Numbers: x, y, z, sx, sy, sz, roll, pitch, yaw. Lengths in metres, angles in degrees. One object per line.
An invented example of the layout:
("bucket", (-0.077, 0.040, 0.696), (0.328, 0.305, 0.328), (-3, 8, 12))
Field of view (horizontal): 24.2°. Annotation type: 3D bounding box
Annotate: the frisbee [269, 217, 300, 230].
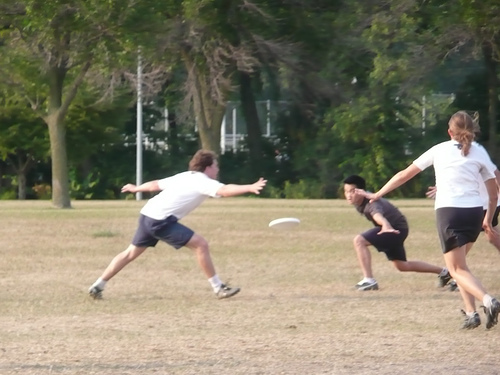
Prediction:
("frisbee", (0.727, 0.776, 24.820), (0.612, 0.334, 0.597), (-1, 13, 0))
